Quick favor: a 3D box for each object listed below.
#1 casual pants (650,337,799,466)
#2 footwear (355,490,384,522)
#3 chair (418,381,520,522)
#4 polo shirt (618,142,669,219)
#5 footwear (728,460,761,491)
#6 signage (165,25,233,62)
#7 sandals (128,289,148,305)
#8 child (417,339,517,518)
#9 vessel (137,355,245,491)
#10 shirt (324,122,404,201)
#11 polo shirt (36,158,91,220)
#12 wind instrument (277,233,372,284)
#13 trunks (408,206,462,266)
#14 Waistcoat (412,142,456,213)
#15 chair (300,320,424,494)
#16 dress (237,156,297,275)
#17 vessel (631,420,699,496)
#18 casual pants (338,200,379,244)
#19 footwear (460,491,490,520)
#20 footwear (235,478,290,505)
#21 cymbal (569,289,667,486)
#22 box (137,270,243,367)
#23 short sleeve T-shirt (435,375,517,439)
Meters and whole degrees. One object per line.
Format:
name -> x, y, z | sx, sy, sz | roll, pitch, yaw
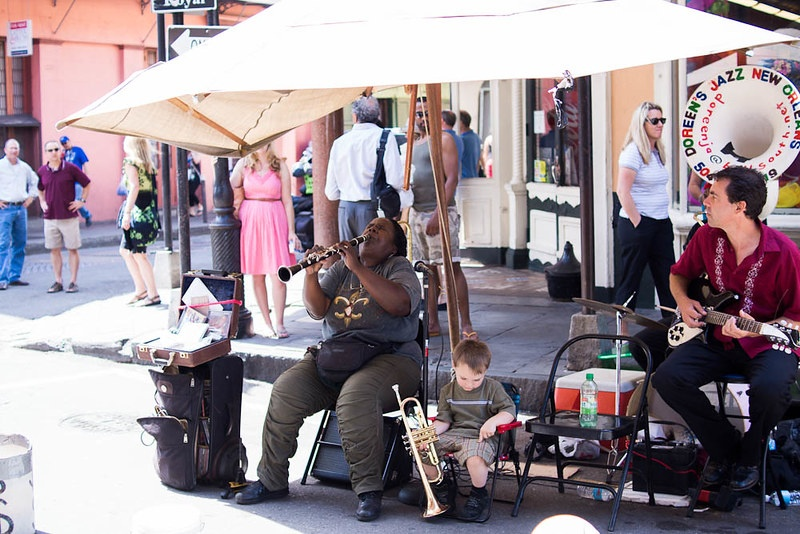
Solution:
casual pants -> 2.381, 0.874, 6.347 | 0.878, 1.032, 0.844 | 0, -5, 26
footwear -> -0.222, 1.693, 6.140 | 0.095, 0.121, 0.275 | 1, -3, 6
chair -> 0.469, 1.255, 6.112 | 0.653, 0.912, 0.638 | 0, 1, -36
polo shirt -> 2.446, -0.857, 8.604 | 0.450, 0.798, 0.788 | 0, 6, 33
footwear -> 2.385, 1.465, 6.030 | 0.196, 0.186, 0.114 | 0, 4, 13
signage -> -2.065, -2.252, 9.022 | 0.914, 0.101, 0.663 | -2, 42, 8
sandals -> -3.548, 0.449, 11.922 | 0.117, 0.141, 0.340 | 0, 3, 26
child -> 0.454, 1.140, 6.190 | 0.672, 1.114, 0.619 | 2, 3, 8
vessel -> -1.586, 1.197, 6.766 | 0.890, 1.053, 0.651 | 0, -6, 28
shirt -> -0.373, -1.027, 8.763 | 0.817, 0.752, 0.445 | 7, 14, 29
polo shirt -> -4.978, -1.107, 12.791 | 0.786, 0.851, 0.399 | -1, 9, 5
wind instrument -> -0.647, -0.077, 7.424 | 0.216, 0.207, 1.262 | -32, -6, 39
trunks -> 0.336, -0.314, 8.739 | 0.356, 0.630, 0.595 | 4, -6, -41
Waistcoat -> 0.330, -0.961, 9.835 | 0.487, 0.911, 0.583 | 3, -5, -26
chair -> -0.243, 1.076, 6.818 | 0.753, 1.343, 0.764 | 6, -14, 9
dress -> -1.500, -0.498, 9.667 | 0.574, 1.177, 0.467 | 2, -1, -8
vessel -> 1.913, 1.355, 6.303 | 0.422, 0.457, 0.436 | 4, 9, 29
casual pants -> -0.478, -0.496, 8.849 | 0.281, 0.211, 0.647 | -3, -40, -10
footwear -> 0.530, 1.679, 6.138 | 0.111, 0.138, 0.275 | -1, 0, 24
footwear -> -1.018, 1.660, 6.451 | 0.375, 0.171, 0.140 | 3, -2, -23
cymbal -> 1.628, 0.903, 6.514 | 0.506, 0.879, 0.515 | 9, -11, -31
box -> -1.600, 0.387, 6.698 | 0.778, 0.655, 0.746 | -5, 8, -31
short sleeve T-shirt -> 0.538, 1.020, 6.257 | 0.626, 0.486, 0.360 | -3, -12, 27
